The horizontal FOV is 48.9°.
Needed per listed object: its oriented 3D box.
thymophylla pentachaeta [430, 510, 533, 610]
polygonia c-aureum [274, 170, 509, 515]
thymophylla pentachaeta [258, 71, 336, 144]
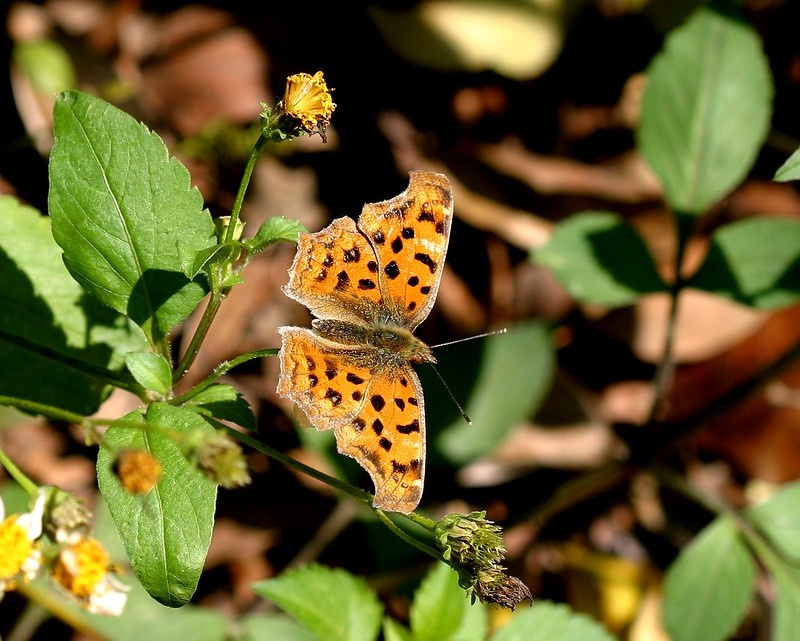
[{"bbox_3d":[0.243,0.748,2.730,0.174,0.203,0.345,-32,70,-30],"label":"thymophylla pentachaeta"},{"bbox_3d":[-0.120,0.052,2.954,0.949,0.358,1.347,14,71,-28],"label":"polygonia c-aureum"},{"bbox_3d":[-0.338,-0.630,2.799,0.228,0.286,0.234,1,57,-14],"label":"thymophylla pentachaeta"}]
